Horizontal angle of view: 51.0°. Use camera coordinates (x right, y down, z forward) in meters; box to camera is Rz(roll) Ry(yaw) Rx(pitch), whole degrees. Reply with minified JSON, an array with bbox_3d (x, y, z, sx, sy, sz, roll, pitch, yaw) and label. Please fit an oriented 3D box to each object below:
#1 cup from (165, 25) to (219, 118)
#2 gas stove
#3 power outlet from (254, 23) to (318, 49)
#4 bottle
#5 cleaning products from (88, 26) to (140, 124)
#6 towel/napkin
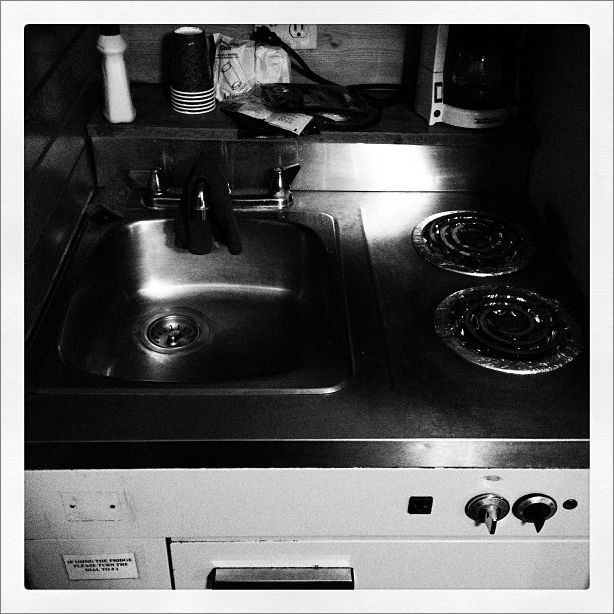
[{"bbox_3d":[-0.242,-0.488,1.351,0.093,0.163,0.088,-1,20,0],"label":"cup"},{"bbox_3d":[0.292,0.020,1.107,0.404,0.154,0.403,9,44,1],"label":"gas stove"},{"bbox_3d":[-0.031,-0.587,1.398,0.109,0.052,0.036,-1,20,-2],"label":"power outlet"},{"bbox_3d":[-0.390,-0.475,1.317,0.064,0.189,0.089,-7,21,-15],"label":"bottle"},{"bbox_3d":[-0.381,-0.461,1.316,0.110,0.169,0.138,-8,51,-9],"label":"cleaning products"},{"bbox_3d":[-0.205,-0.202,1.311,0.087,0.150,0.154,11,37,-8],"label":"towel/napkin"}]
